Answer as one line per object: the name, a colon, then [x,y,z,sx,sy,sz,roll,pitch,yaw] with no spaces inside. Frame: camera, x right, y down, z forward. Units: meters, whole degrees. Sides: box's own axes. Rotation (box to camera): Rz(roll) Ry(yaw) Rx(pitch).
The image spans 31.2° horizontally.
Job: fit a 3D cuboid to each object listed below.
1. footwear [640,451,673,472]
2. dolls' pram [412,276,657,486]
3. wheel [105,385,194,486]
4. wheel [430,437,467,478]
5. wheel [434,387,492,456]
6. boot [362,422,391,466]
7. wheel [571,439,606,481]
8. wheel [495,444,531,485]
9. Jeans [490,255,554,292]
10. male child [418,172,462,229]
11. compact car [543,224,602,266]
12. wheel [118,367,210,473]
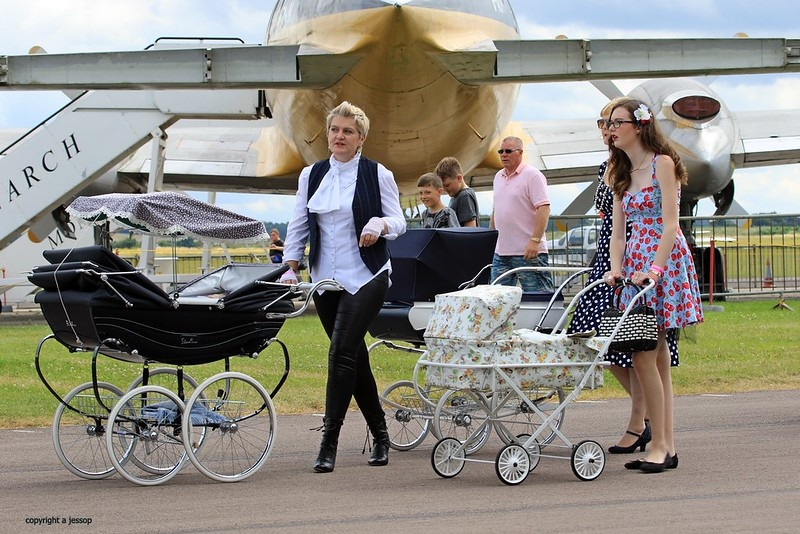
footwear: [2.544,1.936,14.016,0.378,0.108,0.143,9,-15,-44]
dolls' pram: [1.416,1.122,14.538,2.596,1.965,1.468,3,-5,-23]
wheel: [-2.535,1.626,14.206,0.768,0.956,1.047,-1,3,-11]
wheel: [0.485,1.891,14.023,0.395,0.343,0.146,-22,14,-26]
wheel: [0.609,1.591,14.692,0.184,0.645,0.738,3,16,30]
boot: [-0.200,1.795,14.432,0.206,0.372,0.498,-5,11,7]
wheel: [1.833,1.897,13.852,0.346,0.311,0.104,-21,6,-23]
wheel: [1.102,1.921,13.763,0.391,0.344,0.106,-13,4,-21]
Jeans: [1.386,0.076,16.135,0.433,0.432,0.170,-6,4,17]
male child: [0.440,-0.748,16.124,0.439,0.607,0.732,-1,2,1]
compact car: [3.830,-0.421,29.277,1.624,0.591,1.188,7,8,33]
wheel: [-2.430,1.635,14.405,0.267,0.966,1.118,14,-8,-35]
